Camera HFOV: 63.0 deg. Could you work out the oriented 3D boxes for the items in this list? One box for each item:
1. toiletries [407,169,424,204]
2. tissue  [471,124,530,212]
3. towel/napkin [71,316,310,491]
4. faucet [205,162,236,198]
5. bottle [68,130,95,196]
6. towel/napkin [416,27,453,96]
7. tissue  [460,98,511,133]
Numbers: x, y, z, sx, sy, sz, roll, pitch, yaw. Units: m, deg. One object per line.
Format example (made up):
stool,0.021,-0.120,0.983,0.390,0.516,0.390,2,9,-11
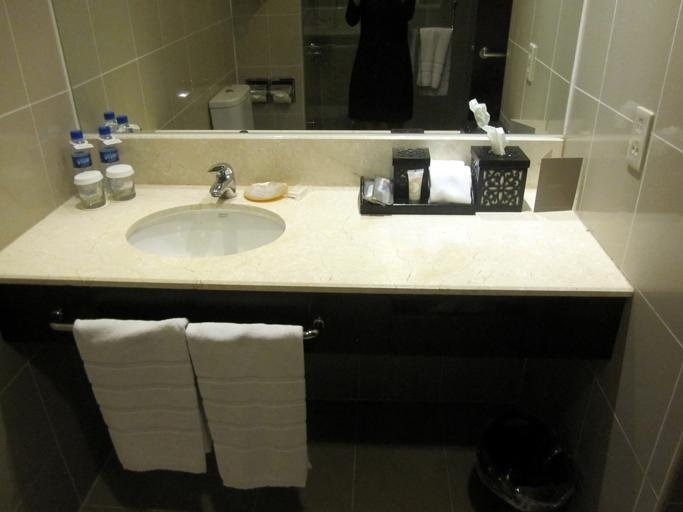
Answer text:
toiletries,0.255,-0.239,1.900,0.063,0.110,0.039,-15,29,-26
tissue ,0.533,-0.279,1.981,0.184,0.257,0.264,2,42,5
towel/napkin,-0.459,0.433,1.689,0.637,0.625,0.158,4,35,2
faucet,-0.417,-0.270,1.980,0.066,0.114,0.137,11,29,12
bottle,-0.913,-0.364,1.947,0.088,0.181,0.154,-12,29,-23
towel/napkin,0.311,-0.658,1.880,0.112,0.206,0.044,4,26,8
tissue ,0.509,-0.484,1.955,0.119,0.140,0.032,13,40,19
